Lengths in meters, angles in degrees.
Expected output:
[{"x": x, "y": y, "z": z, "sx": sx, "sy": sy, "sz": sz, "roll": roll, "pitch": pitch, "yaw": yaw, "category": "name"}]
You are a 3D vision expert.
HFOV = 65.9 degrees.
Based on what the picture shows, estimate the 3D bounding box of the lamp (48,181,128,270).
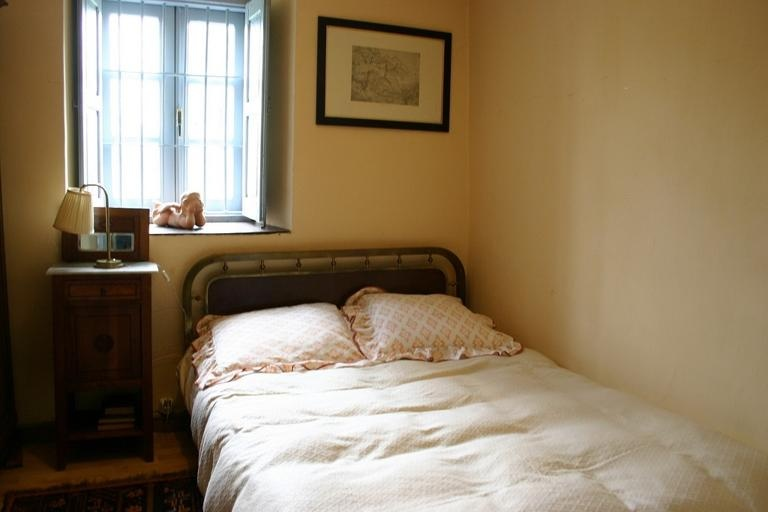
[{"x": -1.774, "y": -0.187, "z": 3.518, "sx": 0.332, "sy": 0.482, "sz": 0.432, "roll": -10, "pitch": 15, "yaw": -43, "category": "lamp"}]

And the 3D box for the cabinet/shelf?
[{"x": -1.700, "y": 0.615, "z": 3.640, "sx": 0.625, "sy": 1.255, "sz": 0.477, "roll": 1, "pitch": 13, "yaw": -21, "category": "cabinet/shelf"}]

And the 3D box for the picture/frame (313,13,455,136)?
[{"x": -0.042, "y": -1.261, "z": 4.061, "sx": 0.799, "sy": 0.633, "sz": 0.038, "roll": -1, "pitch": 4, "yaw": -18, "category": "picture/frame"}]
